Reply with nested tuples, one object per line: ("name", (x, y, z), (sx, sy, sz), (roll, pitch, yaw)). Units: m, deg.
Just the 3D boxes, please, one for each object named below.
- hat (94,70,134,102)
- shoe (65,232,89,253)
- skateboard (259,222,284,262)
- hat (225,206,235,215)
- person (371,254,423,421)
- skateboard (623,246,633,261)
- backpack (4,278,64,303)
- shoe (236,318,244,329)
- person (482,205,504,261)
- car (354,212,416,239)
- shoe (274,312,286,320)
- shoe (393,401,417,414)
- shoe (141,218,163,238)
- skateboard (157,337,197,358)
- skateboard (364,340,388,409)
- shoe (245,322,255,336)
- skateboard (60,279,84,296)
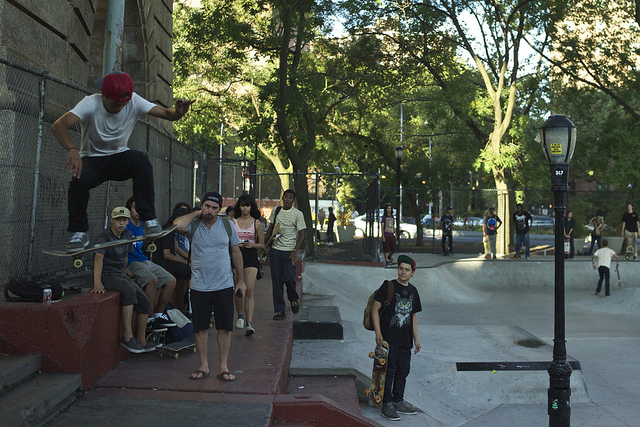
("hat", (-3.226, -2.131, 11.519), (0.700, 0.407, 0.451), (33, 36, 25))
("shoe", (-3.774, 0.434, 11.431), (0.309, 0.312, 0.334), (8, 8, -13))
("skateboard", (-1.019, 0.589, 15.668), (0.257, 0.994, 0.150), (31, 6, -31))
("hat", (-1.880, -0.098, 15.415), (0.134, 0.145, 0.110), (53, 24, 22))
("person", (1.437, 2.271, 13.545), (1.054, 2.984, 0.656), (10, 9, 9))
("skateboard", (12.087, 1.523, 28.615), (0.266, 0.370, 0.620), (-11, -25, 30))
("backpack", (-4.373, 1.169, 11.207), (0.505, 0.217, 0.471), (3, -5, -3))
("shoe", (-1.582, 2.191, 14.649), (0.173, 0.137, 0.309), (0, 0, 0))
("person", (6.581, 0.667, 27.863), (0.856, 2.136, 0.561), (-3, 23, 8))
("car", (3.928, 0.729, 42.706), (3.357, 1.555, 1.691), (-1, 0, 0))
("shoe", (-0.833, 2.152, 15.420), (0.262, 0.201, 0.093), (-2, -20, 3))
("shoe", (1.596, 3.638, 13.715), (0.476, 0.225, 0.179), (2, -1, -2))
("shoe", (-2.651, 0.219, 11.659), (0.171, 0.227, 0.512), (-7, -4, -25))
("skateboard", (-2.460, 2.335, 12.807), (0.316, 0.177, 0.993), (6, 2, 23))
("skateboard", (1.099, 3.016, 13.577), (0.310, 1.306, 0.171), (7, 9, 35))
("shoe", (-1.330, 2.238, 14.154), (0.178, 0.216, 0.218), (9, 8, -7))
("skateboard", (-3.961, 1.166, 11.703), (0.273, 0.177, 0.671), (9, 8, -7))
